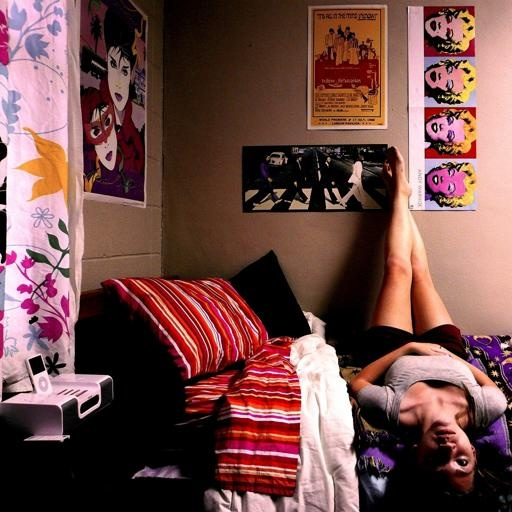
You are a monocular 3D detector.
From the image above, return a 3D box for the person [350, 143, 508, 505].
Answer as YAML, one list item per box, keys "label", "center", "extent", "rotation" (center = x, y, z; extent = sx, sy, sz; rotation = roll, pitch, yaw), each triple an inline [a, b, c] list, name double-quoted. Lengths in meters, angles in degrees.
- label: "person"
  center: [0.622, 0.241, 1.963]
  extent: [0.451, 0.502, 1.456]
  rotation: [1, 50, 4]

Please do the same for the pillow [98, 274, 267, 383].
- label: "pillow"
  center: [-0.258, 0.235, 1.922]
  extent: [0.669, 0.173, 0.727]
  rotation: [22, 19, -4]

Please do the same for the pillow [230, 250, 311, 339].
- label: "pillow"
  center: [0.083, 0.224, 2.384]
  extent: [0.258, 0.452, 0.095]
  rotation: [-22, -23, -22]
